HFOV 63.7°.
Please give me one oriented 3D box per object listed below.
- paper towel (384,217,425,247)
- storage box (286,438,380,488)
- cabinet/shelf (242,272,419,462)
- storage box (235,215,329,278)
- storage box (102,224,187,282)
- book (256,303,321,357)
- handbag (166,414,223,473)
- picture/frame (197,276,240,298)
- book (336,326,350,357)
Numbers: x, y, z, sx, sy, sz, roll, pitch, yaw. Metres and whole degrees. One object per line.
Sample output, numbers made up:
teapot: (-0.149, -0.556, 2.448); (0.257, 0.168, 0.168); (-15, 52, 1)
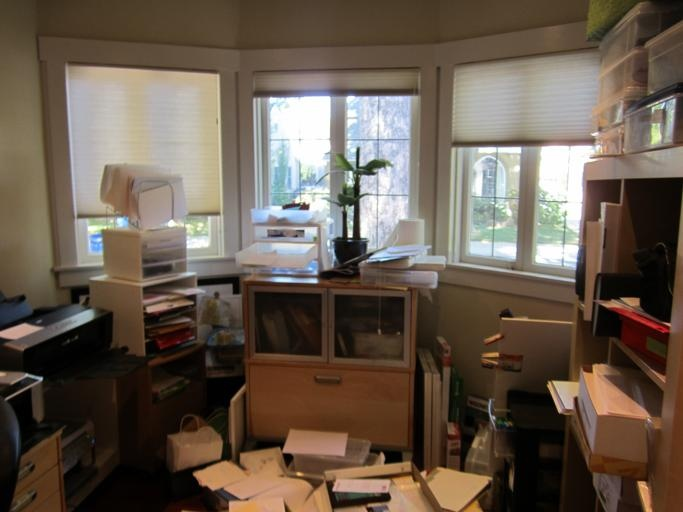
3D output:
paper towel: (0.401, -0.138, 3.356); (0.233, 0.233, 0.142); (2, 5, 20)
storage box: (-0.033, 1.115, 2.996); (0.507, 0.145, 0.199); (-3, 10, -6)
cabinet/shelf: (-0.038, 0.621, 3.133); (1.011, 1.010, 0.396); (1, 2, 8)
storage box: (-0.349, -0.106, 3.412); (0.541, 0.381, 0.465); (-2, 9, 1)
storage box: (-1.158, -0.086, 3.271); (0.325, 0.301, 0.398); (4, 9, 23)
book: (-0.287, 0.425, 3.189); (0.295, 0.224, 0.011); (0, 0, 8)
handbag: (-0.799, 1.041, 3.011); (0.278, 0.253, 0.109); (12, -8, -42)
picture/frame: (-0.843, 0.210, 3.751); (0.202, 0.140, 0.048); (3, 2, -13)
book: (0.003, 0.489, 3.149); (0.047, 0.172, 0.011); (-14, -3, 2)
